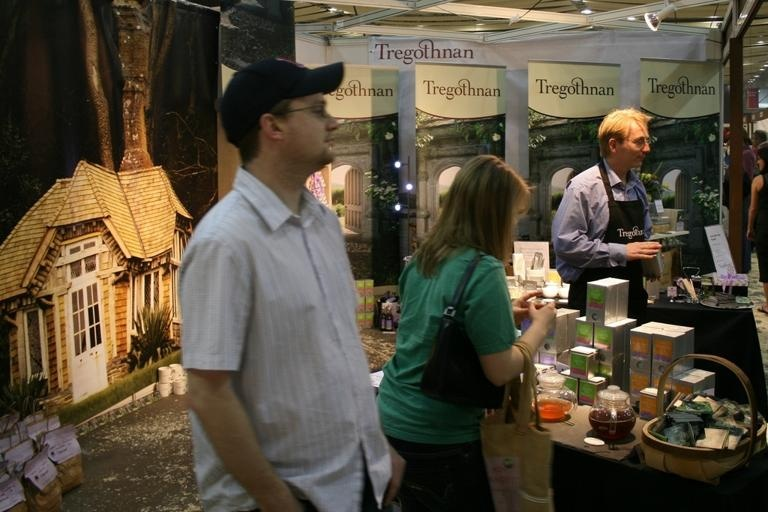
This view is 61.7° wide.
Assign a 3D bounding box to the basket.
[{"bbox_3d":[1.672,0.864,3.541,0.738,0.622,0.528,-13,14,-40],"label":"basket"}]

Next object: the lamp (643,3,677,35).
[{"bbox_3d":[3.155,-2.737,7.318,0.297,0.267,0.698,1,7,24],"label":"lamp"}]

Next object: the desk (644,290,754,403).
[{"bbox_3d":[2.722,0.699,5.449,0.934,0.797,0.789,2,7,17],"label":"desk"}]

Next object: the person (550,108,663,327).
[{"bbox_3d":[1.739,-0.314,5.006,0.804,1.668,0.632,-1,6,8],"label":"person"}]

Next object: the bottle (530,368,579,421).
[{"bbox_3d":[1.003,0.825,3.911,0.334,0.353,0.252,0,-2,13],"label":"bottle"}]

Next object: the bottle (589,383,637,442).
[{"bbox_3d":[1.313,0.894,3.664,0.278,0.275,0.167,-4,6,-21],"label":"bottle"}]

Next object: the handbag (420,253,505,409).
[{"bbox_3d":[0.393,0.389,3.227,0.418,0.773,0.099,-3,6,-17],"label":"handbag"}]

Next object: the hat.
[{"bbox_3d":[-0.463,-0.690,2.816,0.471,0.250,0.300,-27,24,-7],"label":"hat"}]
